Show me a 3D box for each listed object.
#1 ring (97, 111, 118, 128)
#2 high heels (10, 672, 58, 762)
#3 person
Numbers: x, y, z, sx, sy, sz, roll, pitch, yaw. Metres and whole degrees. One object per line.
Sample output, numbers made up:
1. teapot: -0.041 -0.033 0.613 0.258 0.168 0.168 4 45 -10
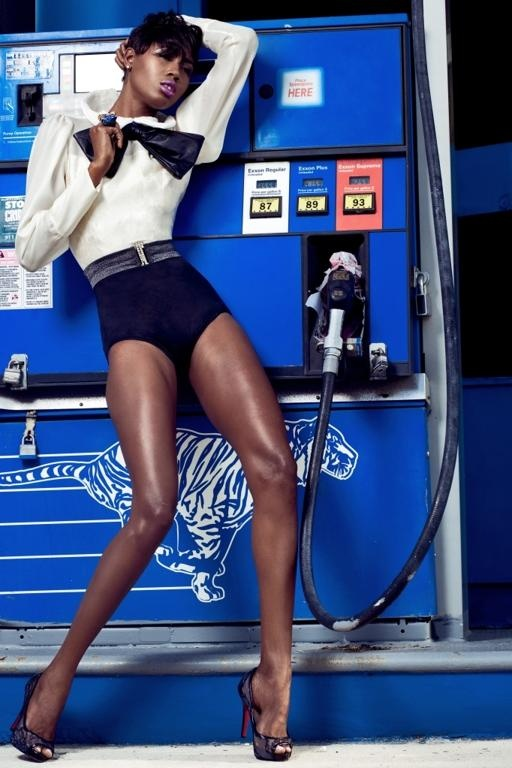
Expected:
1. ring: -0.313 -0.569 1.768 0.042 0.030 0.035 -20 30 -39
2. high heels: -0.418 0.619 1.527 0.064 0.044 0.185 23 24 -25
3. person: -0.223 -0.095 1.733 0.594 1.353 1.015 -2 17 2
